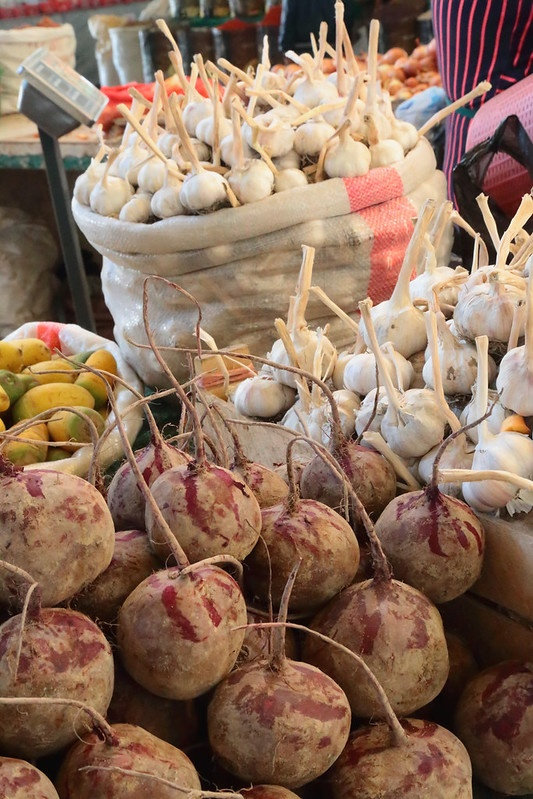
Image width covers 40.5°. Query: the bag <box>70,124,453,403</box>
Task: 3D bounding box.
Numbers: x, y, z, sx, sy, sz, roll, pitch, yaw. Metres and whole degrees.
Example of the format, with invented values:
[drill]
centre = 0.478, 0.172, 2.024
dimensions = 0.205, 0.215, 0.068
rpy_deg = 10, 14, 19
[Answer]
[bag]
centre = 0.042, -0.431, 2.085
dimensions = 0.881, 0.398, 0.675
rpy_deg = -18, 17, -19
